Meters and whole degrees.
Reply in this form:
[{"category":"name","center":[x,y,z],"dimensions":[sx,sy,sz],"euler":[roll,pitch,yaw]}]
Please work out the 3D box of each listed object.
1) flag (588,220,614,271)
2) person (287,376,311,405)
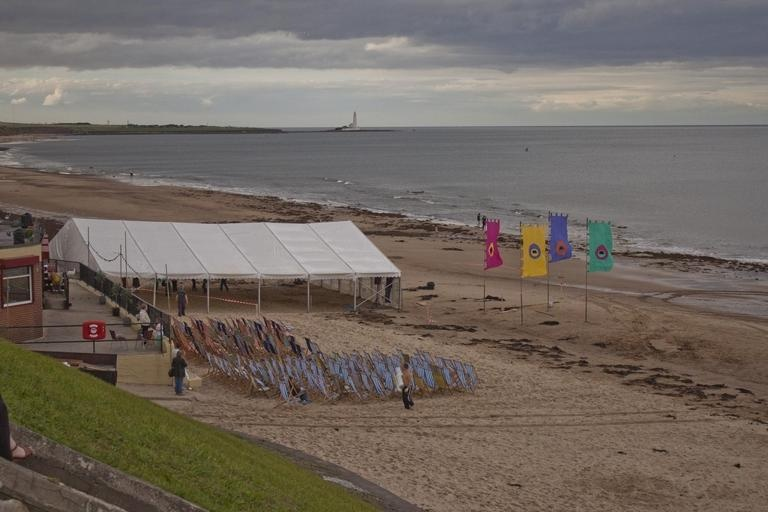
[{"category":"flag","center":[10.451,-0.445,42.247],"dimensions":[1.131,2.460,1.089],"euler":[-1,10,10]},{"category":"person","center":[-3.166,4.872,32.390],"dimensions":[0.668,0.866,0.864],"euler":[-6,10,-21]}]
